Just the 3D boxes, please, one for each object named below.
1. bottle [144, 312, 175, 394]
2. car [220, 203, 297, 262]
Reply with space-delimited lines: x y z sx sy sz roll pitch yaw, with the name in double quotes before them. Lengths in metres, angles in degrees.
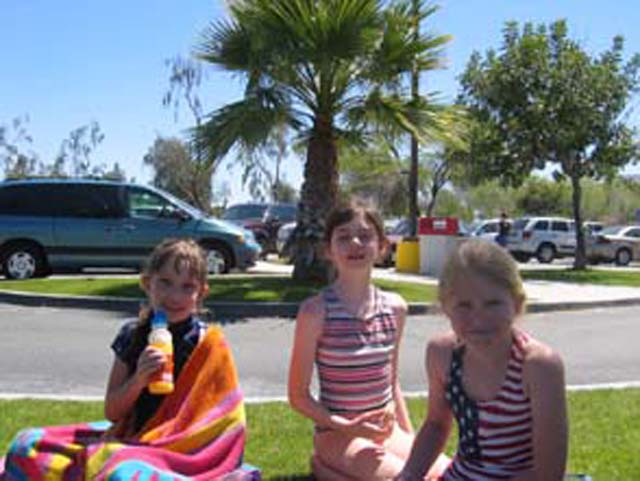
"bottle" -1.399 0.967 7.677 0.216 0.704 0.186 0 0 -12
"car" -2.022 -0.643 27.047 2.894 1.826 1.914 7 7 36
